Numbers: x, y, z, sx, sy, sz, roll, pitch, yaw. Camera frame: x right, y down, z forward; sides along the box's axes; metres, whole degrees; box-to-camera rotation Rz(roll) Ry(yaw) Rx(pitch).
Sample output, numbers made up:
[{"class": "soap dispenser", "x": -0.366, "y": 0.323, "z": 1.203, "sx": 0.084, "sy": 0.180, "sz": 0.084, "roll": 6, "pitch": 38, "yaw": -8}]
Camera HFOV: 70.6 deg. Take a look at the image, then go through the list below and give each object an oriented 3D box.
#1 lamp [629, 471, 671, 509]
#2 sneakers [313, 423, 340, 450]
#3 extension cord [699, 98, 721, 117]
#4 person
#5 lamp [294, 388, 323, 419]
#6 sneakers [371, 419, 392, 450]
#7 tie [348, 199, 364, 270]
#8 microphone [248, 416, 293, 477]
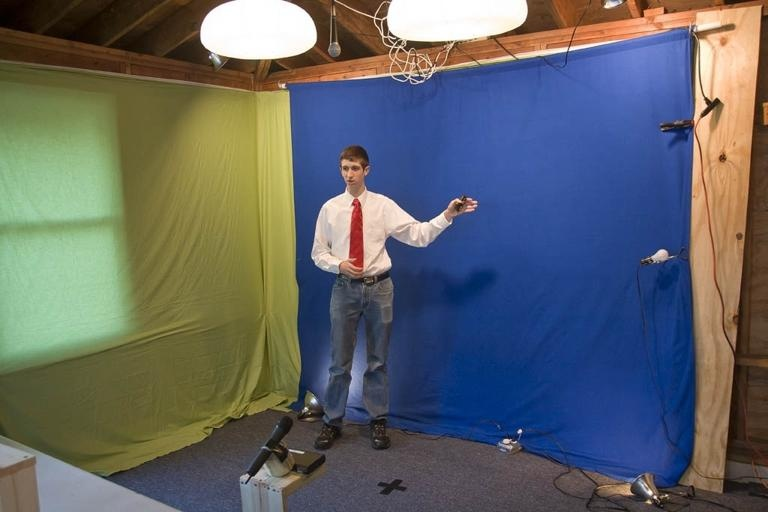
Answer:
[{"class": "lamp", "x": 1.787, "y": 1.552, "z": 3.616, "sx": 0.208, "sy": 0.128, "sz": 0.217, "roll": -6, "pitch": 13, "yaw": -27}, {"class": "sneakers", "x": -0.447, "y": 1.408, "z": 4.211, "sx": 0.101, "sy": 0.117, "sz": 0.265, "roll": 0, "pitch": -8, "yaw": 13}, {"class": "extension cord", "x": 2.124, "y": -0.979, "z": 3.538, "sx": 0.103, "sy": 0.032, "sz": 0.107, "roll": -17, "pitch": 42, "yaw": 12}, {"class": "person", "x": -0.052, "y": 0.303, "z": 4.252, "sx": 1.004, "sy": 2.279, "sz": 0.672, "roll": -1, "pitch": 11, "yaw": -7}, {"class": "lamp", "x": -0.641, "y": 1.288, "z": 4.679, "sx": 0.195, "sy": 0.161, "sz": 0.190, "roll": 30, "pitch": -13, "yaw": -19}, {"class": "sneakers", "x": -0.026, "y": 1.380, "z": 4.218, "sx": 0.160, "sy": 0.175, "sz": 0.176, "roll": 0, "pitch": 12, "yaw": -1}, {"class": "tie", "x": -0.209, "y": -0.174, "z": 4.149, "sx": 0.110, "sy": 0.499, "sz": 0.218, "roll": 0, "pitch": 11, "yaw": -4}, {"class": "microphone", "x": -0.562, "y": 0.933, "z": 2.635, "sx": 0.219, "sy": 0.315, "sz": 0.172, "roll": -5, "pitch": 13, "yaw": -24}]
